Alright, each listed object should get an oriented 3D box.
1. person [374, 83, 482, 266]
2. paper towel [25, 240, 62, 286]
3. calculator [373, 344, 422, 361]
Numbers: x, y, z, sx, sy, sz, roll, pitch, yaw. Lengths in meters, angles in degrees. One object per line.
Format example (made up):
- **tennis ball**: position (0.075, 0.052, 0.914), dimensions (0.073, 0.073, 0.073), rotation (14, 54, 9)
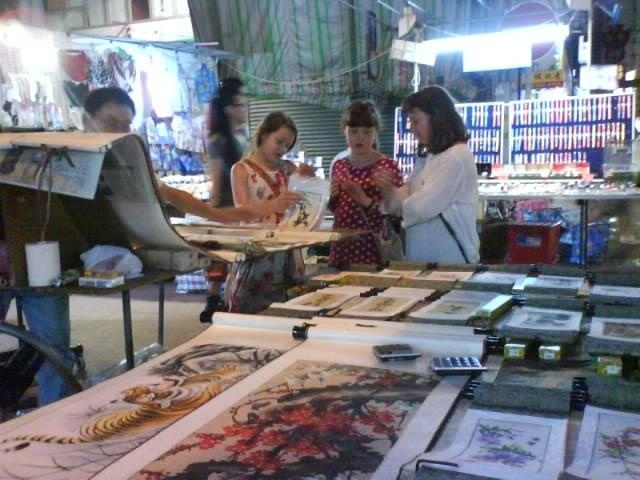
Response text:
- **person**: position (0.662, -0.362, 3.036), dimensions (0.631, 1.053, 0.613), rotation (-3, 8, -10)
- **paper towel**: position (-0.940, 0.080, 1.801), dimensions (0.100, 0.148, 0.099), rotation (-6, 8, -28)
- **calculator**: position (0.222, 0.325, 1.535), dimensions (0.126, 0.030, 0.073), rotation (-2, 7, -6)
